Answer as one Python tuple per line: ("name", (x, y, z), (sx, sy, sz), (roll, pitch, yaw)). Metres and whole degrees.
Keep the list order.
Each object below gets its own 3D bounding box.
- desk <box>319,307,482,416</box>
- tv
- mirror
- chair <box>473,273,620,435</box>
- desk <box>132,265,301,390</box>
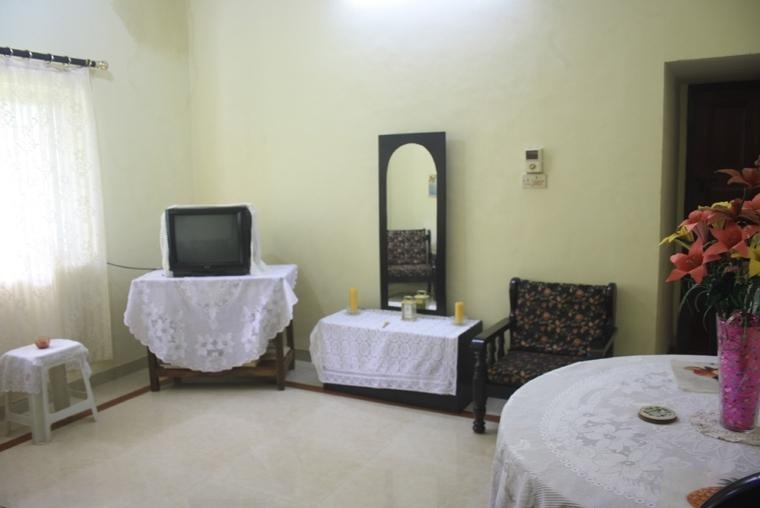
("desk", (-0.055, 0.861, 5.009), (1.206, 0.568, 0.713), (10, 3, -15))
("tv", (-1.541, -0.161, 5.164), (0.768, 0.643, 0.493), (-4, 18, -23))
("mirror", (0.283, -0.245, 5.066), (0.621, 1.679, 0.071), (-1, -7, 7))
("chair", (1.230, 0.772, 4.357), (1.135, 1.090, 1.165), (1, 5, 6))
("desk", (-1.445, 0.640, 5.323), (1.410, 0.985, 0.945), (-2, 8, 0))
